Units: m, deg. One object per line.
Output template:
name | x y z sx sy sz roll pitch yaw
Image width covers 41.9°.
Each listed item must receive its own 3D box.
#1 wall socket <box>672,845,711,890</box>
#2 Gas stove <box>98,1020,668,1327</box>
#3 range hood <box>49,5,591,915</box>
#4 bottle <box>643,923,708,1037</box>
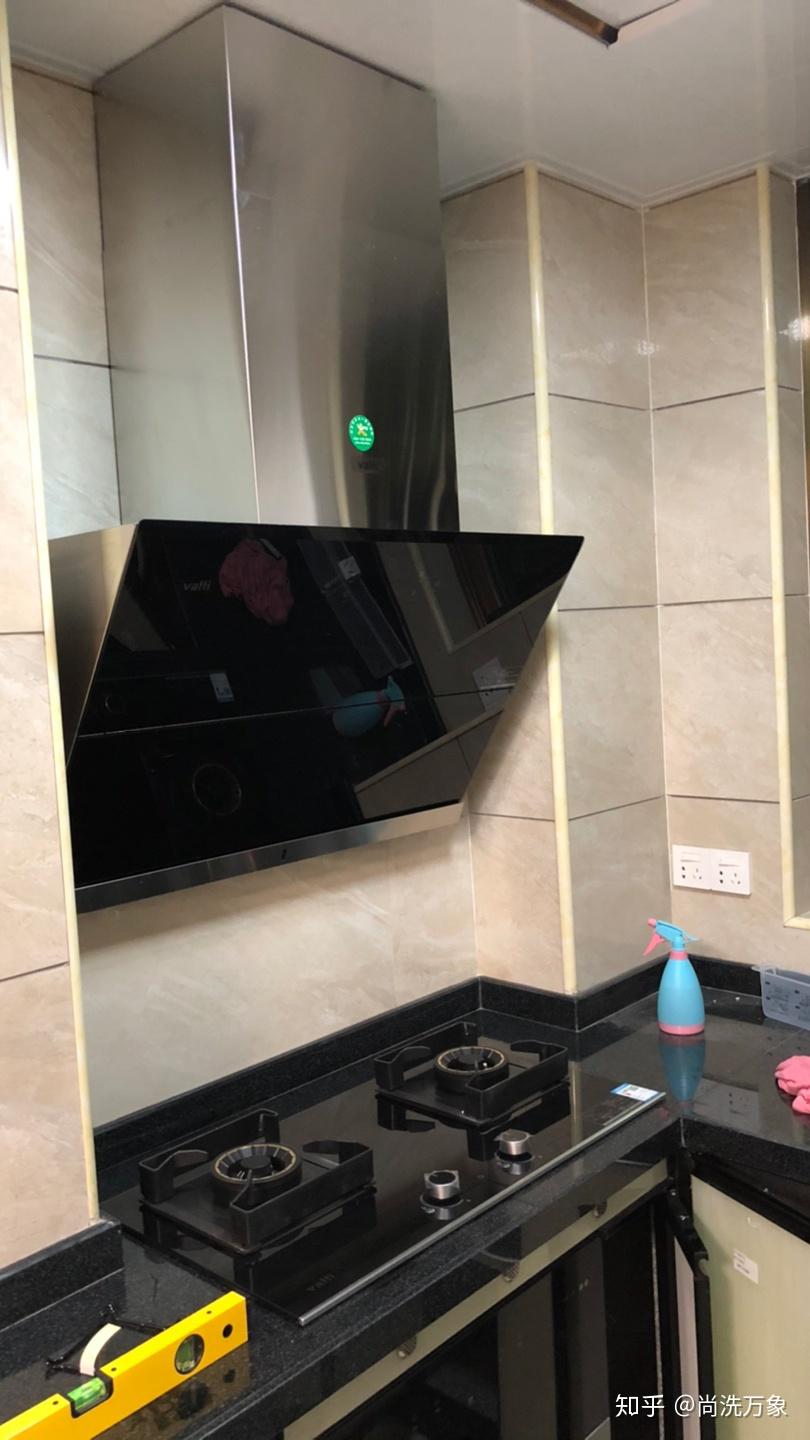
wall socket | 0.564 0.291 2.088 0.010 0.091 0.083 0 -3 -39
Gas stove | -0.025 0.576 1.519 0.498 0.093 0.785 5 6 42
range hood | -0.157 -0.323 1.443 0.421 1.124 0.788 4 5 39
bottle | 0.496 0.463 1.908 0.117 0.203 0.085 1 4 -3
